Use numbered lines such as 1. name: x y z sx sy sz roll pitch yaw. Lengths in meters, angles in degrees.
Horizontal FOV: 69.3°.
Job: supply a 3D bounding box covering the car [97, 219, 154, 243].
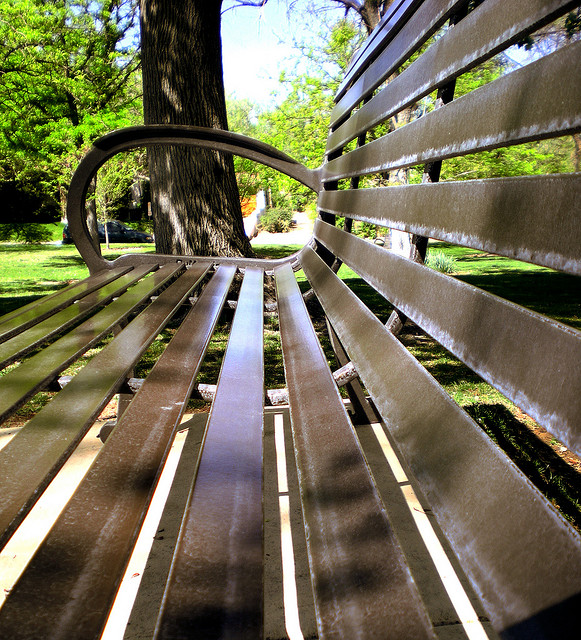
1. car: -9.431 -5.077 23.816 3.283 1.436 1.158 -1 -81 -11
